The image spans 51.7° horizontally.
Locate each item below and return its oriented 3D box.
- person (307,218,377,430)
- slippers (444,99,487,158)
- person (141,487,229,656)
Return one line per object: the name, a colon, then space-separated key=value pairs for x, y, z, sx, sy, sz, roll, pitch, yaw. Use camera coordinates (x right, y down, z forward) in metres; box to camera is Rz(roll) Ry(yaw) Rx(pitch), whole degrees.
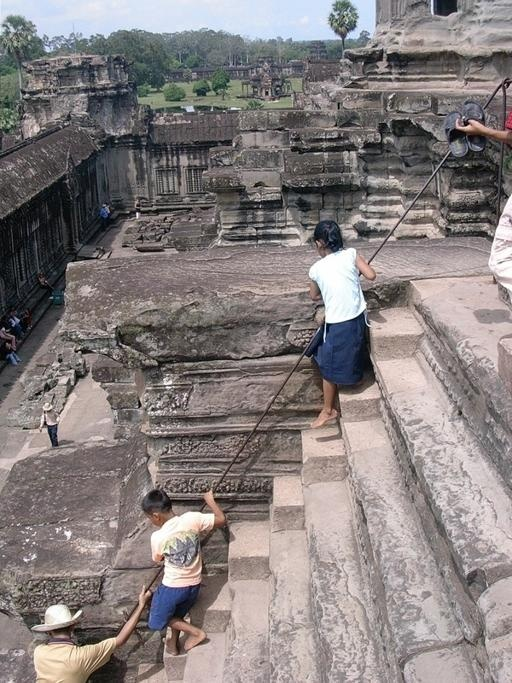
person: x=0.474 y=-0.045 z=3.059 sx=0.344 sy=1.227 sz=0.425 roll=0 pitch=24 yaw=6
slippers: x=1.198 y=-1.245 z=3.101 sx=0.266 sy=0.361 sz=0.109 roll=-10 pitch=0 yaw=23
person: x=-0.416 y=1.319 z=3.046 sx=0.424 sy=0.938 sz=0.338 roll=2 pitch=7 yaw=0
